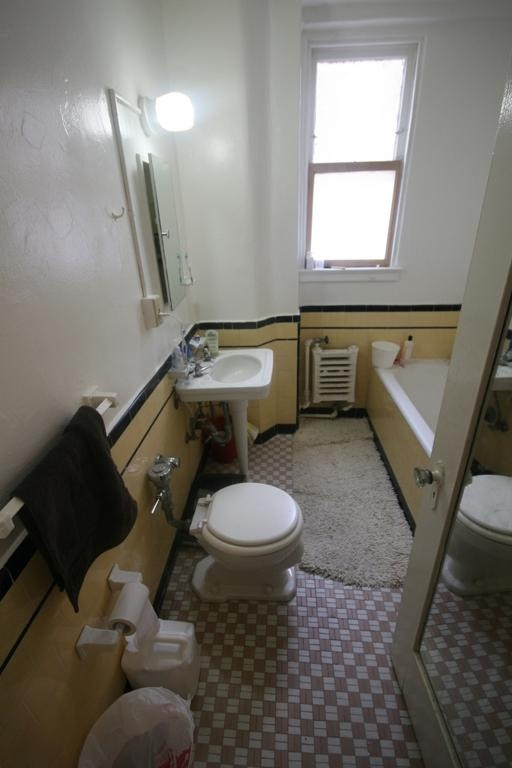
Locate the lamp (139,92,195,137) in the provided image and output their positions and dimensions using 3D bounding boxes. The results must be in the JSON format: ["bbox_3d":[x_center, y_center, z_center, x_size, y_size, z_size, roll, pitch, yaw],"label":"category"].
[{"bbox_3d":[-0.322,-0.979,1.731,0.175,0.158,0.177,-2,35,0],"label":"lamp"}]

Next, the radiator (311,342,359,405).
[{"bbox_3d":[0.495,-0.065,3.008,0.266,0.357,0.142,2,25,8],"label":"radiator"}]

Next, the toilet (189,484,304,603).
[{"bbox_3d":[-0.011,0.564,1.782,0.394,0.429,0.266,3,27,7],"label":"toilet"}]

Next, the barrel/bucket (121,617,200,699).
[{"bbox_3d":[-0.237,0.758,1.409,0.235,0.321,0.191,-2,39,-2],"label":"barrel/bucket"}]

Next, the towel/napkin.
[{"bbox_3d":[-0.368,0.268,1.034,0.094,0.346,0.347,0,28,5],"label":"towel/napkin"}]

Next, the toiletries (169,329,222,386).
[{"bbox_3d":[-0.273,-0.115,2.180,0.178,0.240,0.254,3,20,-2],"label":"toiletries"}]

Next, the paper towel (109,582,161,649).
[{"bbox_3d":[-0.298,0.632,1.256,0.108,0.170,0.159,4,19,1],"label":"paper towel"}]

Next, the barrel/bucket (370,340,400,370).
[{"bbox_3d":[0.796,-0.160,2.906,0.131,0.133,0.167,-10,35,-11],"label":"barrel/bucket"}]
